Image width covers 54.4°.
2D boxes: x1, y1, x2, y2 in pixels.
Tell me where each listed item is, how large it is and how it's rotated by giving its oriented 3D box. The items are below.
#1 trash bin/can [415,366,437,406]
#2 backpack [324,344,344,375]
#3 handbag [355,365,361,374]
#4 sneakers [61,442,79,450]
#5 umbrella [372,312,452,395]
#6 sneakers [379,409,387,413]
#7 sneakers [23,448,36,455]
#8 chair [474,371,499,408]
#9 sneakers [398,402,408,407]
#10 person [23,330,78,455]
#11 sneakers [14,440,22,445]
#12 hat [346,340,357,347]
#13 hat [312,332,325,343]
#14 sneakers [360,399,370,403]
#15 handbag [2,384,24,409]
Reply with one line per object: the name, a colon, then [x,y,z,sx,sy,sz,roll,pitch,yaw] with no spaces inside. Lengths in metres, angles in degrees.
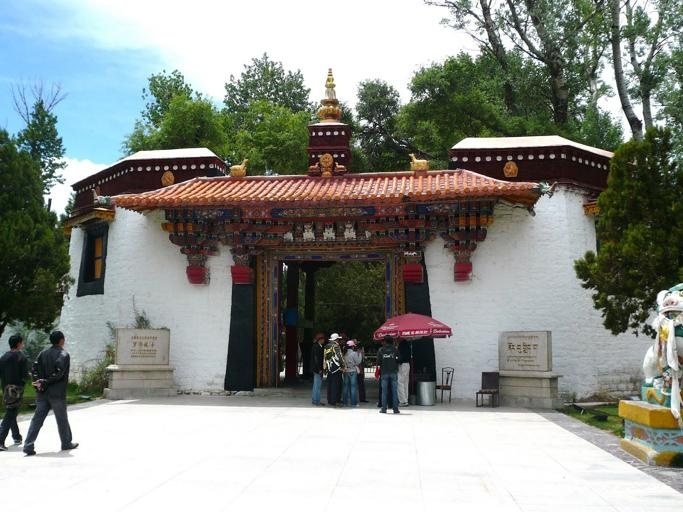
trash bin/can: [2.208,3.486,17.471,0.682,1.159,0.709,-1,-2,24]
backpack: [-0.203,2.666,16.837,0.690,0.779,0.431,-4,-11,13]
handbag: [0.429,3.052,17.602,0.157,0.175,0.225,-1,-12,2]
sneakers: [-4.795,3.380,11.755,0.294,0.129,0.215,6,-9,-36]
umbrella: [1.879,2.546,17.294,1.985,2.169,2.071,0,3,-3]
sneakers: [0.971,3.721,15.805,0.171,0.144,0.073,-3,-7,17]
sneakers: [-5.387,3.398,11.467,0.188,0.119,0.266,4,-8,-26]
chair: [3.826,3.490,17.346,0.596,0.868,1.416,-1,-7,13]
sneakers: [1.602,3.866,17.152,0.217,0.102,0.085,0,-1,15]
person: [-5.235,2.449,12.025,0.841,2.141,0.883,4,-8,-26]
sneakers: [-5.943,3.451,12.210,0.147,0.091,0.185,4,-8,-27]
hat: [0.255,2.311,17.362,0.299,0.160,0.433,0,-9,-2]
hat: [-0.613,2.328,18.716,0.435,0.236,0.628,0,-4,-3]
sneakers: [0.626,3.962,17.997,0.248,0.101,0.078,-5,-2,12]
handbag: [-6.069,2.602,12.255,0.325,0.429,0.244,4,-8,-27]
